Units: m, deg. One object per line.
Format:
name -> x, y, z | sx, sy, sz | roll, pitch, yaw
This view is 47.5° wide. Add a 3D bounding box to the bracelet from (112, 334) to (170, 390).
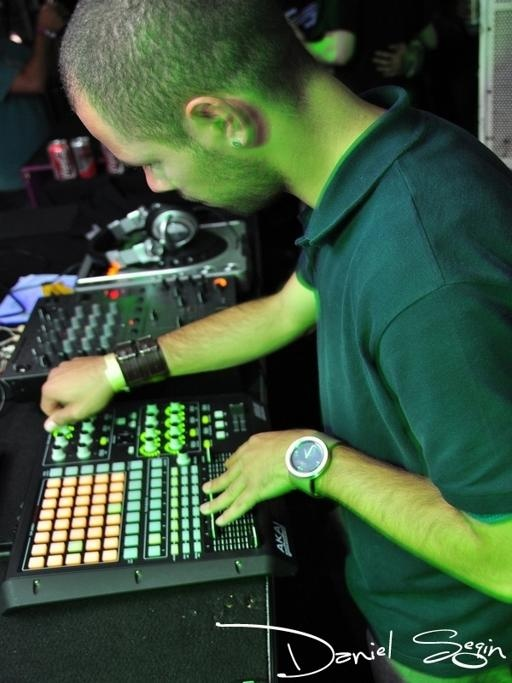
bracelet -> -0.239, 0.044, 1.214 | 0.121, 0.039, 0.099 | -17, 84, -10
